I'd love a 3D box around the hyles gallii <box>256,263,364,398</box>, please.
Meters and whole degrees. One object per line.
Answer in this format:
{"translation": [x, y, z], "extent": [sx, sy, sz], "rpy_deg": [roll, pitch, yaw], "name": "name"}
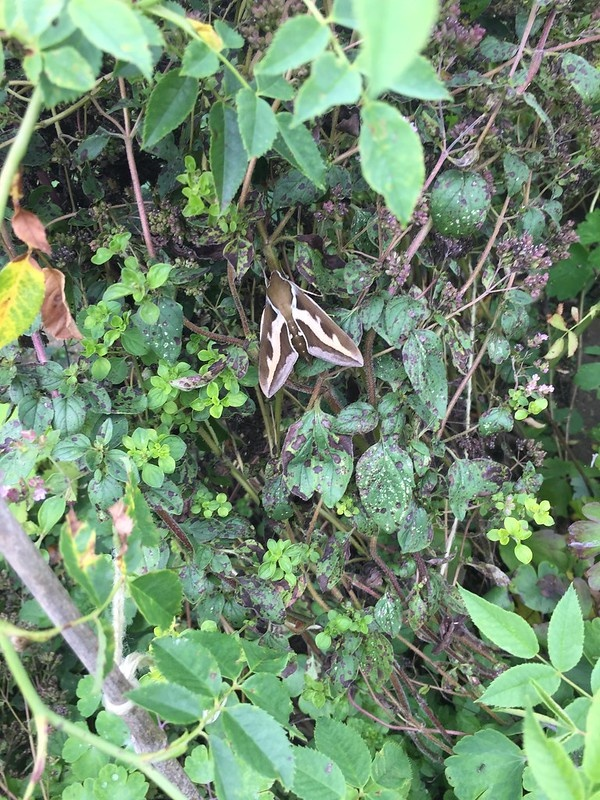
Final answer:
{"translation": [0.024, -0.075, 1.306], "extent": [0.176, 0.297, 0.207], "rpy_deg": [-2, 52, 4], "name": "hyles gallii"}
